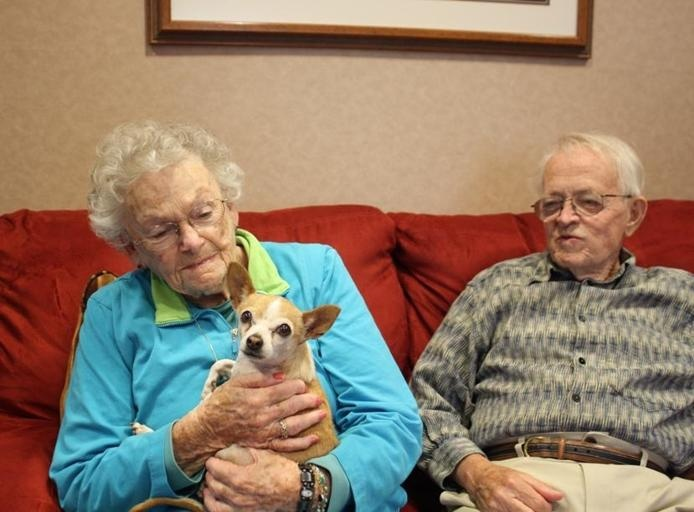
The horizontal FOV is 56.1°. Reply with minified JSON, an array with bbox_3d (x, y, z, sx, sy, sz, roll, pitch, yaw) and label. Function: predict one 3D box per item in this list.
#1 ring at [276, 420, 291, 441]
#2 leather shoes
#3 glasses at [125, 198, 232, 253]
[{"bbox_3d":[-0.187,0.514,1.941,0.035,0.059,0.018,-5,5,-4],"label":"ring"},{"bbox_3d":[0.793,0.669,2.279,0.314,0.097,0.264,3,0,-2],"label":"leather shoes"},{"bbox_3d":[-0.476,-0.116,2.106,0.218,0.068,0.214,-23,-6,-19],"label":"glasses"}]
